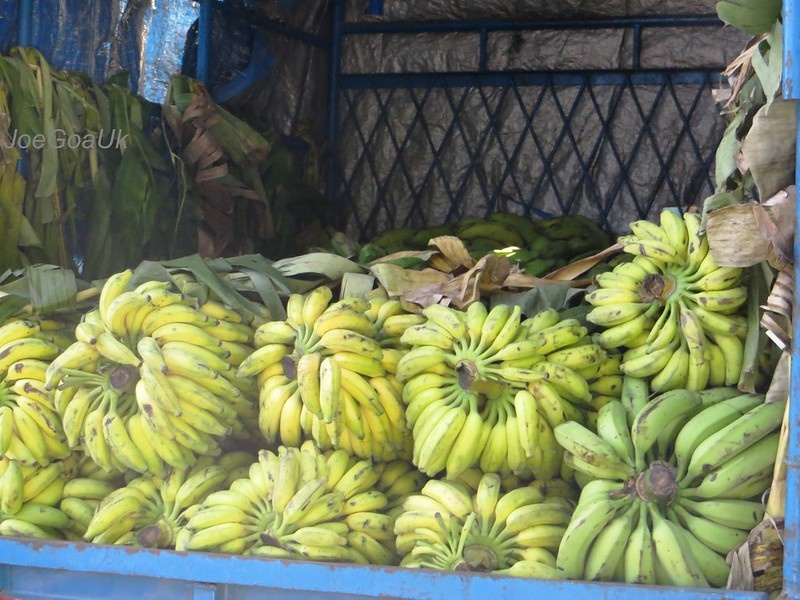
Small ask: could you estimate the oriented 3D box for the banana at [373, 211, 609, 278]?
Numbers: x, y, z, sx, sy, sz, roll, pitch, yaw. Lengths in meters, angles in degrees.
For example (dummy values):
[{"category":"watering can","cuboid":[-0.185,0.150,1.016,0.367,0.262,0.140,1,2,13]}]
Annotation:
[{"category":"banana","cuboid":[0.515,-0.273,6.107,0.735,0.289,0.273,-2,-25,-3]}]
